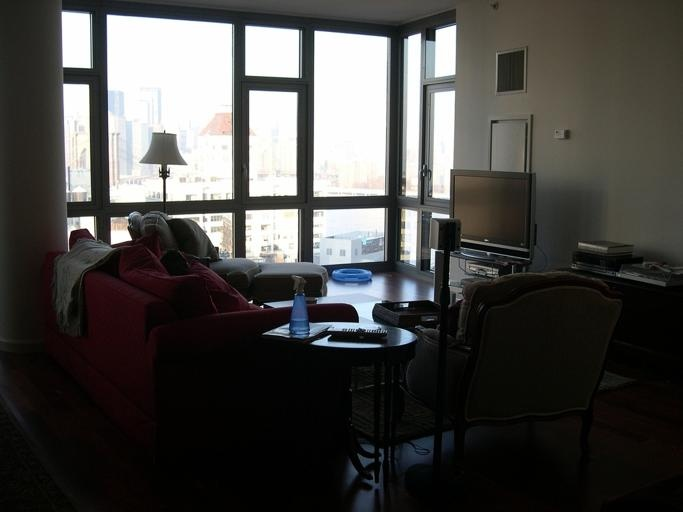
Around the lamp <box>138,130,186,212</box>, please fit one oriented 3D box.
[{"bbox_3d":[-2.048,-0.943,6.287,0.473,0.942,0.665,-2,10,-18],"label":"lamp"}]

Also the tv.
[{"bbox_3d":[1.571,-0.424,5.798,0.248,0.927,1.194,-8,12,-31],"label":"tv"}]

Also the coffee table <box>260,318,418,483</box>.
[{"bbox_3d":[-0.032,0.642,2.934,0.738,0.759,0.845,-1,5,-14],"label":"coffee table"}]

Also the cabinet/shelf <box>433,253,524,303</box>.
[{"bbox_3d":[1.466,0.302,5.757,0.475,0.631,0.937,14,-1,-37],"label":"cabinet/shelf"}]

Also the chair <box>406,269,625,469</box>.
[{"bbox_3d":[0.993,0.617,3.345,0.895,1.109,1.198,0,3,-15],"label":"chair"}]
